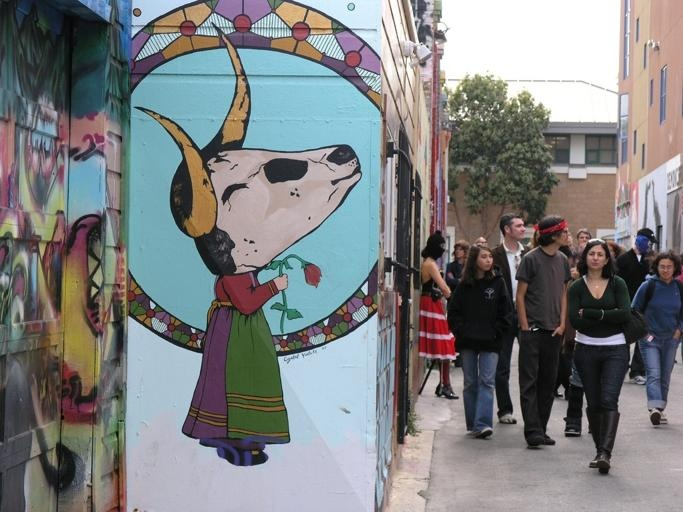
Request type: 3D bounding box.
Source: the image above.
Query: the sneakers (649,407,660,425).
[{"bbox_3d":[3.764,1.914,10.523,0.072,0.271,0.110,1,35,4],"label":"sneakers"}]

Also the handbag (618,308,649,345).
[{"bbox_3d":[2.936,0.695,8.734,0.207,0.328,0.486,4,9,22],"label":"handbag"}]

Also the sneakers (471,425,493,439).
[{"bbox_3d":[1.601,2.013,10.002,0.095,0.151,0.282,9,-23,-23],"label":"sneakers"}]

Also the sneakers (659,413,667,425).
[{"bbox_3d":[3.937,1.995,10.709,0.118,0.071,0.182,2,4,8],"label":"sneakers"}]

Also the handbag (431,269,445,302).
[{"bbox_3d":[1.340,0.444,12.164,0.225,0.310,0.199,5,12,6],"label":"handbag"}]

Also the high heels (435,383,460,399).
[{"bbox_3d":[1.530,2.005,12.931,0.145,0.244,0.427,4,-7,-42],"label":"high heels"}]
